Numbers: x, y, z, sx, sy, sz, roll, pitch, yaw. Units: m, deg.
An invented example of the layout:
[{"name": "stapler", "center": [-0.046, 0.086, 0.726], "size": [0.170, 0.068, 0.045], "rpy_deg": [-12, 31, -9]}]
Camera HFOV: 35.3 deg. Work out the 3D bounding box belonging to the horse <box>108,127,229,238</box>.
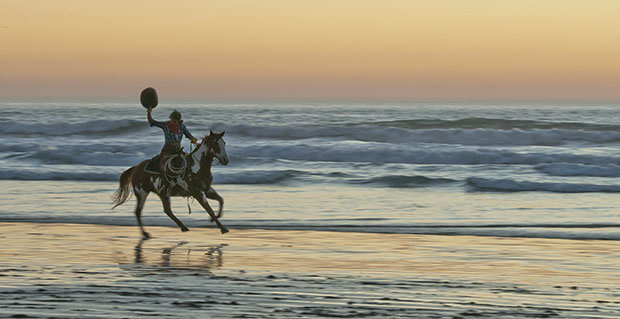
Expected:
[{"name": "horse", "center": [-4.391, 0.577, 31.597], "size": [3.440, 3.362, 3.173], "rpy_deg": [0, 16, -4]}]
